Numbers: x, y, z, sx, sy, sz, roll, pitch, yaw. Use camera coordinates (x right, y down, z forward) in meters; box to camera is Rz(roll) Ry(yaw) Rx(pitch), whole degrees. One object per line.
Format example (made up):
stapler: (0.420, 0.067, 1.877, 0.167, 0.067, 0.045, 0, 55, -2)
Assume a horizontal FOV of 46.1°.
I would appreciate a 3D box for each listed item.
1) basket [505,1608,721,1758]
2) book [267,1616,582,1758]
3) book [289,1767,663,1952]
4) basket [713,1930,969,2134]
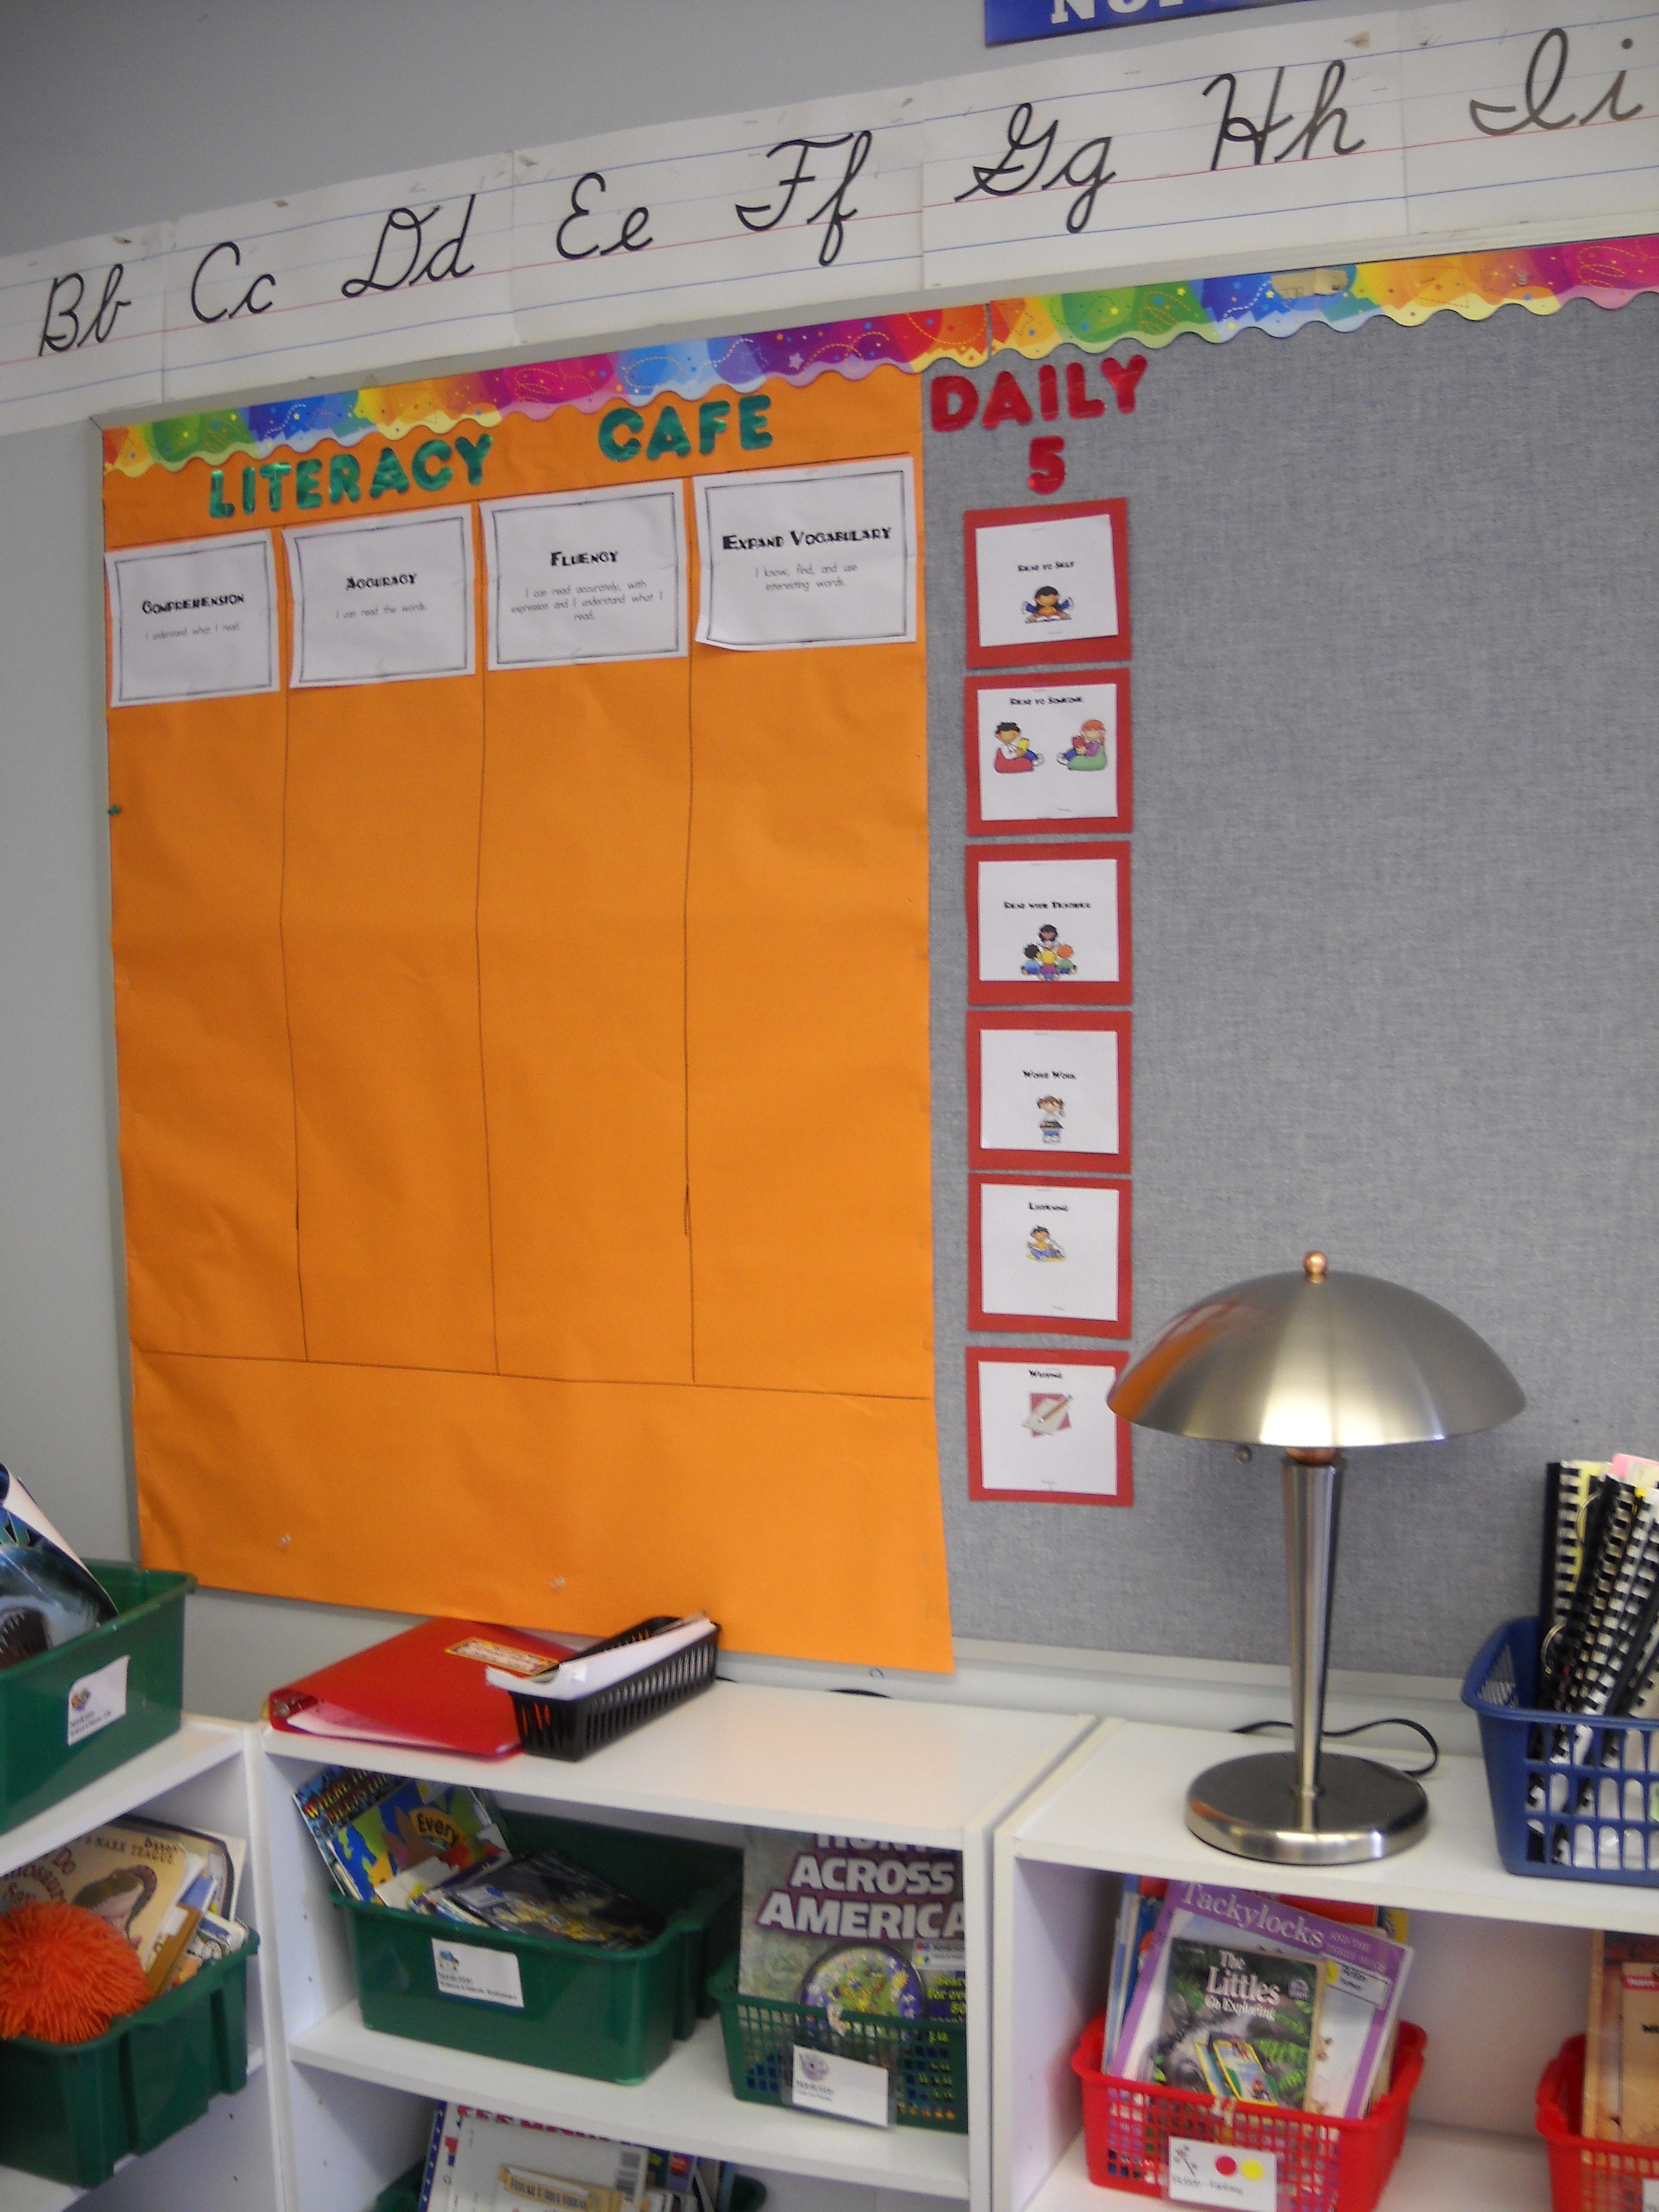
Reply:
basket: (-0.189, 0.463, 1.707, 0.082, 0.068, 0.201, 1, 0, 25)
book: (-0.364, 0.537, 1.792, 0.165, 0.035, 0.158, -1, -1, 22)
book: (-0.317, 0.716, 1.817, 0.265, 0.078, 0.168, 11, 0, 15)
basket: (0.010, 0.768, 1.578, 0.170, 0.064, 0.102, -2, -23, 16)
